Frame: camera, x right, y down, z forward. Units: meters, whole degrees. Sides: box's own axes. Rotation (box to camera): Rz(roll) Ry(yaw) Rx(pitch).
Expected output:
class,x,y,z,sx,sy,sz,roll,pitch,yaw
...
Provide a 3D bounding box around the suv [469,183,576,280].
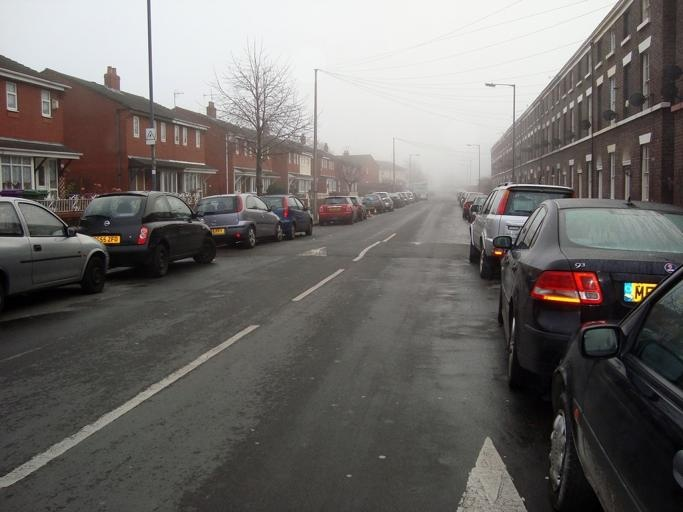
class,x,y,z,sx,sy,sz,roll,pitch,yaw
suv,3.966,-0.688,12.463,1.813,1.941,4.056,0,9,2

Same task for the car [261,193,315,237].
class,x,y,z,sx,sy,sz,roll,pitch,yaw
car,-2.468,-1.965,24.493,1.227,1.279,2.734,1,9,13

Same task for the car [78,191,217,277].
class,x,y,z,sx,sy,sz,roll,pitch,yaw
car,-4.808,-0.683,13.558,1.621,1.574,3.233,0,6,9
